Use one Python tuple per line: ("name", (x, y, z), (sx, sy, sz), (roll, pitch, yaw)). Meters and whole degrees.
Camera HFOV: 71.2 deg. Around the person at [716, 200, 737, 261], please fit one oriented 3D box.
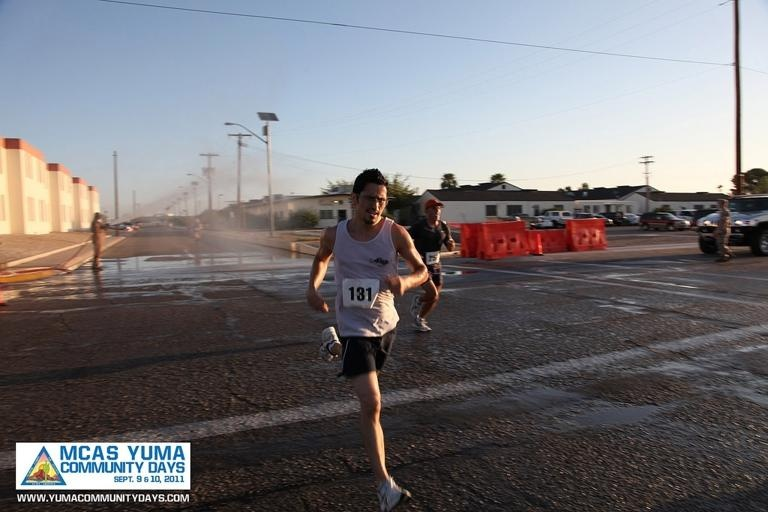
("person", (10.967, -0.821, 17.245), (0.491, 2.025, 0.976), (7, 16, 30))
